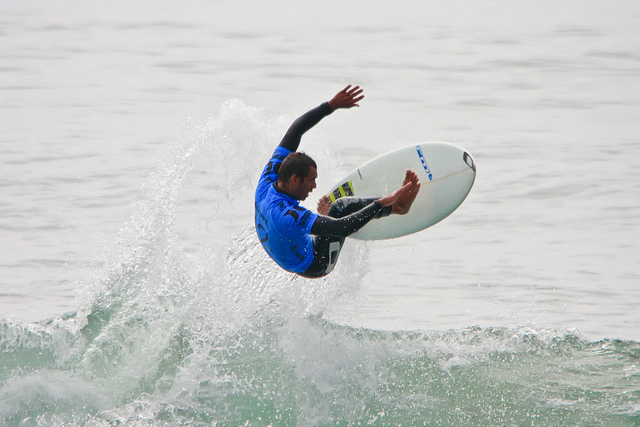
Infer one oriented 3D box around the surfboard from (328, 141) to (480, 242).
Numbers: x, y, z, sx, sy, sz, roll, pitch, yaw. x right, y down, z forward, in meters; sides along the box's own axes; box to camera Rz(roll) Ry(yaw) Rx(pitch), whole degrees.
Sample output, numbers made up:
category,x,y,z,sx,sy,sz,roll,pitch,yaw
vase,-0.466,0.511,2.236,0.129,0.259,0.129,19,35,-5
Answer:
category,x,y,z,sx,sy,sz,roll,pitch,yaw
surfboard,1.717,-0.508,13.581,0.943,0.476,2.195,56,29,3
